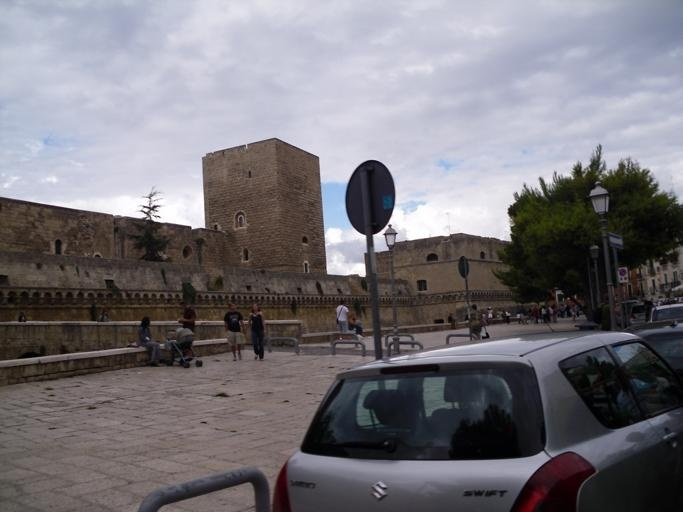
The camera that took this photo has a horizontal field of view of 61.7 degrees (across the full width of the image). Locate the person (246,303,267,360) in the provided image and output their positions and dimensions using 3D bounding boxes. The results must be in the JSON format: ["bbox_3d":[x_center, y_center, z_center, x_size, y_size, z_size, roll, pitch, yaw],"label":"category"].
[{"bbox_3d":[-2.303,2.072,15.669,0.361,1.524,0.998,-8,-7,-9],"label":"person"}]

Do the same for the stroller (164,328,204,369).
[{"bbox_3d":[-4.063,2.295,14.541,1.038,0.996,0.611,-7,-8,38],"label":"stroller"}]

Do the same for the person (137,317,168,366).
[{"bbox_3d":[-4.924,2.187,14.717,0.555,1.282,0.881,-6,-8,-25],"label":"person"}]
